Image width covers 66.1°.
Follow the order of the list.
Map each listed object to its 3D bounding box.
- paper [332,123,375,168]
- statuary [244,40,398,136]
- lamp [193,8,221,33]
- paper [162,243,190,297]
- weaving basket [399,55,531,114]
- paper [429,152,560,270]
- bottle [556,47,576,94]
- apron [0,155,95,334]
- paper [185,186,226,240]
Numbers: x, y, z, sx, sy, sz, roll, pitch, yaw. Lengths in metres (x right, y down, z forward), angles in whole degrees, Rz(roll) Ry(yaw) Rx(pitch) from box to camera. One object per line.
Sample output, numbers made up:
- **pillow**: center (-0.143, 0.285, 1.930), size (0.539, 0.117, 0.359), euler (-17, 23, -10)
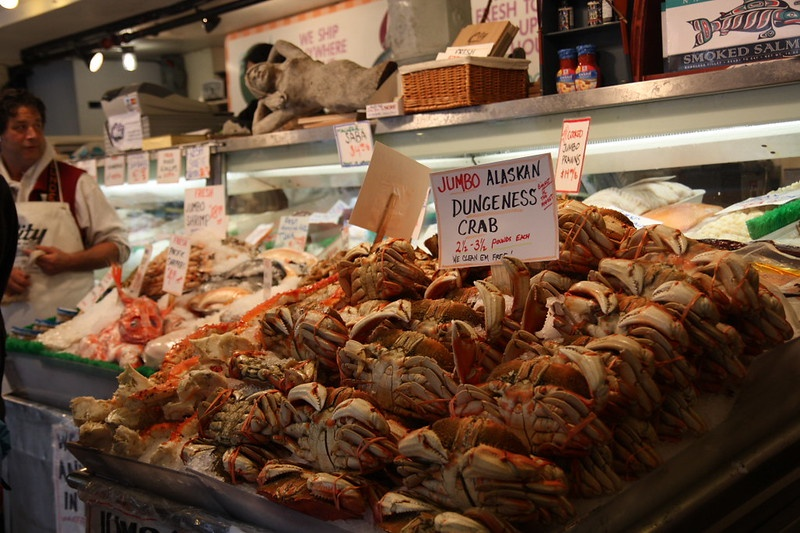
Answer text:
- **paper**: center (-0.203, -0.602, 3.004), size (0.257, 0.205, 0.101), euler (4, 8, 40)
- **statuary**: center (-0.469, -1.050, 3.417), size (0.996, 0.561, 0.327), euler (5, 8, 41)
- **lamp**: center (-1.870, -2.428, 6.051), size (0.180, 0.284, 0.410), euler (-3, 7, -20)
- **paper**: center (-1.164, 0.023, 3.220), size (0.221, 0.290, 0.015), euler (25, 8, 41)
- **weaving basket**: center (0.341, -0.784, 2.810), size (0.422, 0.161, 0.314), euler (-7, 5, -28)
- **paper**: center (0.312, -0.168, 1.978), size (0.519, 0.359, 0.027), euler (-6, -2, 40)
- **bottle**: center (0.942, -1.106, 3.459), size (0.103, 0.274, 0.371), euler (1, 6, 16)
- **apron**: center (-2.267, -0.131, 4.195), size (0.668, 1.114, 0.307), euler (1, -16, 3)
- **paper**: center (-1.080, -0.303, 3.452), size (0.025, 0.288, 0.299), euler (-2, -7, -36)
